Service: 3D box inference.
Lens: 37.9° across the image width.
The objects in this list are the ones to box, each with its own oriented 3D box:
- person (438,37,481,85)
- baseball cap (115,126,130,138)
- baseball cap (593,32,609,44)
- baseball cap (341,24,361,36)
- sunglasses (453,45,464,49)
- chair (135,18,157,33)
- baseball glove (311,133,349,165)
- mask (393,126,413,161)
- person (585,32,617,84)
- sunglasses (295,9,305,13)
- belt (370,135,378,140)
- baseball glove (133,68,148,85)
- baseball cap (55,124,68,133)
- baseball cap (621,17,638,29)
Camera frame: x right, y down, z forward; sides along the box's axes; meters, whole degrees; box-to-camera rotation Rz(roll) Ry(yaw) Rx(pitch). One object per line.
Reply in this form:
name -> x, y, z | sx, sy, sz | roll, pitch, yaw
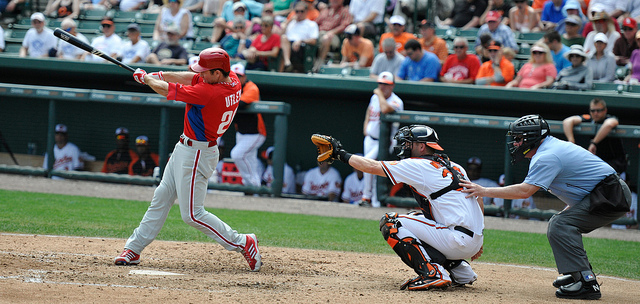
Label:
person -> 3.613, -2.335, 24.348 | 0.976, 1.224, 1.456 | -9, 13, -42
baseball cap -> -5.216, -0.521, 24.802 | 0.299, 0.230, 0.307 | -2, -15, -7
baseball cap -> 7.166, -2.926, 23.816 | 0.366, 0.259, 0.587 | 4, 2, 15
baseball cap -> 0.844, -3.273, 24.964 | 0.442, 0.176, 0.307 | -1, 5, 28
sunglasses -> 3.603, -2.731, 24.180 | 0.269, 0.081, 0.080 | 5, 2, 30
chair -> -5.107, -3.663, 27.099 | 0.674, 0.539, 0.619 | 1, -3, 4
baseball glove -> 0.180, -0.096, 19.912 | 0.522, 0.327, 0.699 | -34, 32, -7
mask -> 1.756, -0.185, 19.773 | 0.256, 0.557, 0.417 | 3, 2, -38
person -> 7.076, -2.328, 23.810 | 0.871, 1.207, 0.963 | 9, 18, 40
sunglasses -> -0.529, -3.850, 25.474 | 0.257, 0.052, 0.043 | 4, 2, 17
belt -> 1.410, -0.380, 24.031 | 0.138, 0.031, 0.134 | 38, -12, -30
baseball glove -> -3.795, -1.572, 19.929 | 0.318, 0.325, 0.267 | 10, -42, -37
baseball cap -> -6.746, -0.620, 24.461 | 0.339, 0.214, 0.077 | 2, 3, -44
baseball cap -> 7.959, -3.317, 23.961 | 0.360, 0.271, 0.349 | 5, 2, 17
